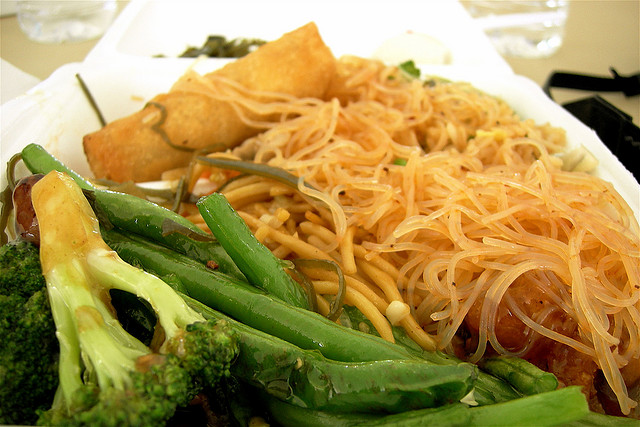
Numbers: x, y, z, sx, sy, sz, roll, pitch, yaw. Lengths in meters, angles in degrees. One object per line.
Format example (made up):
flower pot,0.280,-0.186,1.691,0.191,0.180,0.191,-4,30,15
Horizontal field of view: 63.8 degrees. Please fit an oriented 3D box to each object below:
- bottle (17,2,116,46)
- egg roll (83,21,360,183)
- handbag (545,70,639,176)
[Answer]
bottle,-1.301,-0.988,2.633,0.321,0.234,0.278,21,29,24
egg roll,-0.585,-0.493,2.732,1.468,0.412,0.449,-18,-4,20
handbag,1.519,-0.566,2.891,0.518,0.445,0.703,12,25,17
